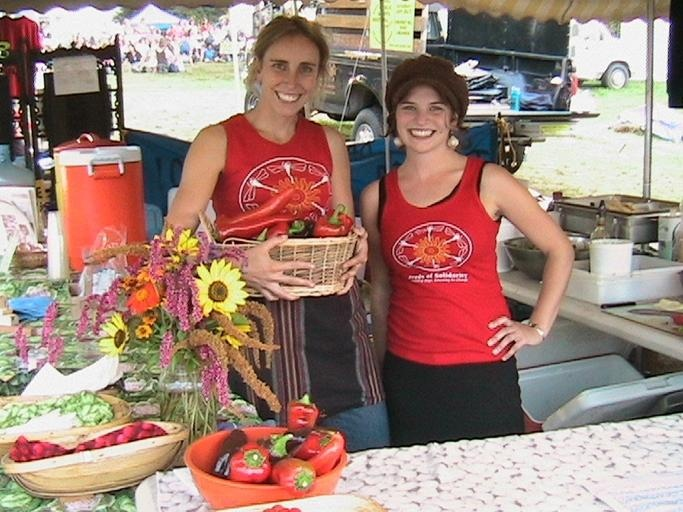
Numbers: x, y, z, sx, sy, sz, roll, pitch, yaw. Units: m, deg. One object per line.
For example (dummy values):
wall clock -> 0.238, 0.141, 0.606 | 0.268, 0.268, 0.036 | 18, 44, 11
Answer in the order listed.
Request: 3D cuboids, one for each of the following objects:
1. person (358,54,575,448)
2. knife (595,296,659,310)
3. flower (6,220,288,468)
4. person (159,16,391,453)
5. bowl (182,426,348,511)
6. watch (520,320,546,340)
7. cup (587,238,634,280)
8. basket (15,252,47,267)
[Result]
person -> 0.388, 0.029, 2.318 | 0.780, 1.576, 0.728 | -1, 11, -5
knife -> 1.440, 0.245, 2.716 | 0.447, 0.064, 0.019 | -4, -26, -15
flower -> -0.391, 0.144, 1.254 | 0.603, 0.442, 0.452 | -3, 6, -23
person -> -0.209, -0.021, 2.113 | 0.908, 1.828, 0.770 | -3, 11, -16
bowl -> -0.177, 0.491, 1.139 | 0.320, 0.158, 0.193 | 6, 15, 24
watch -> 0.785, 0.303, 2.137 | 0.037, 0.099, 0.091 | -51, 8, -2
cup -> 1.369, 0.018, 2.807 | 0.218, 0.186, 0.212 | 1, 8, 0
basket -> -2.079, 0.030, 3.532 | 0.141, 0.051, 0.132 | 2, 3, 14
